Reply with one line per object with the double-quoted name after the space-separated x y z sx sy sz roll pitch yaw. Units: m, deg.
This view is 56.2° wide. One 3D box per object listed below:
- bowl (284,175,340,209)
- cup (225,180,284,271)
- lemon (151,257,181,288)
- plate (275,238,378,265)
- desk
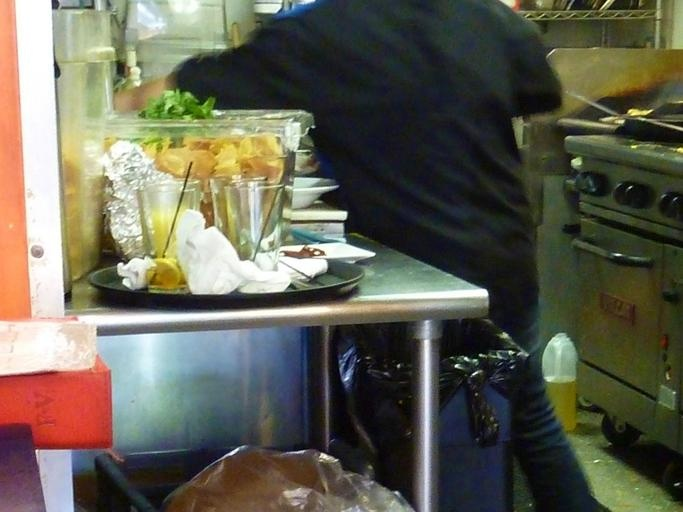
-0.064 -0.135 1.346 0.117 0.034 0.115 -1 9 0 "bowl"
-0.130 -0.056 1.006 0.108 0.123 0.103 1 -1 0 "cup"
-0.232 0.023 0.843 0.048 0.038 0.018 2 7 25 "lemon"
-0.023 -0.004 1.074 0.183 0.028 0.160 -5 7 -42 "plate"
-0.122 0.217 1.103 0.575 0.525 0.561 -1 3 -13 "desk"
